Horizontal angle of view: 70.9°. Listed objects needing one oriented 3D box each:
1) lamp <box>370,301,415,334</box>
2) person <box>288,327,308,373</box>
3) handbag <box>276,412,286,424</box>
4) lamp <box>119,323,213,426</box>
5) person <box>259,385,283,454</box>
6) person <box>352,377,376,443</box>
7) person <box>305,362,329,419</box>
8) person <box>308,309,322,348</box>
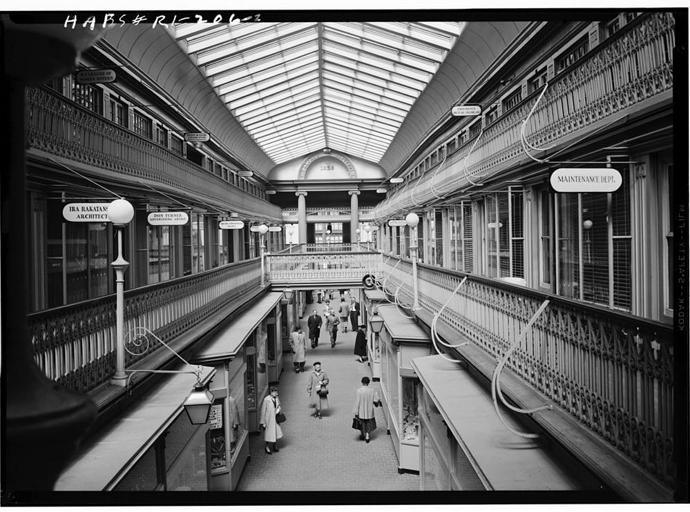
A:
[{"bbox_3d":[1.111,1.364,12.566,0.712,0.965,1.359,0,3,-2],"label":"lamp"},{"bbox_3d":[-1.630,3.248,17.450,0.622,1.738,0.518,6,40,7],"label":"person"},{"bbox_3d":[-1.470,3.692,10.987,0.177,0.241,0.399,0,-9,-2],"label":"handbag"},{"bbox_3d":[-2.410,1.556,6.623,1.152,1.223,2.004,3,-9,-17],"label":"lamp"},{"bbox_3d":[-1.717,3.815,11.159,0.450,1.584,1.238,1,-8,-9],"label":"person"},{"bbox_3d":[0.468,3.674,11.516,0.558,1.636,1.517,0,-8,1],"label":"person"},{"bbox_3d":[-0.730,3.559,12.898,0.525,1.433,0.431,1,9,10],"label":"person"},{"bbox_3d":[-1.288,3.013,20.214,0.530,1.630,0.520,-2,22,-7],"label":"person"}]
